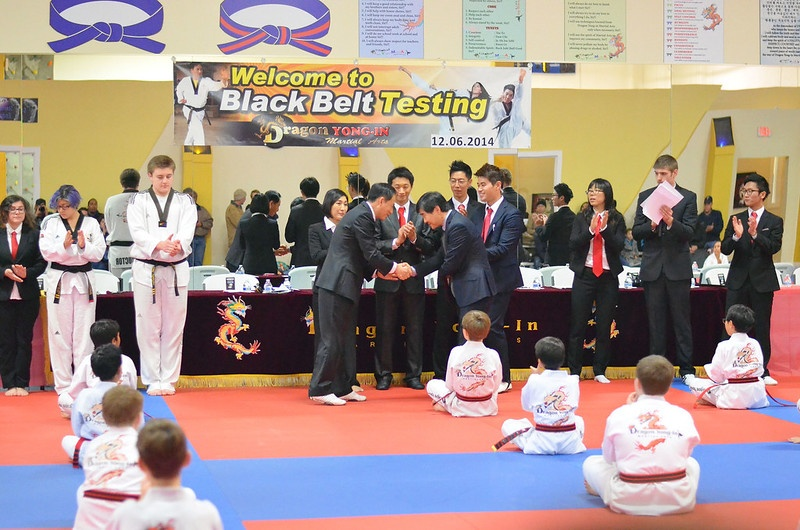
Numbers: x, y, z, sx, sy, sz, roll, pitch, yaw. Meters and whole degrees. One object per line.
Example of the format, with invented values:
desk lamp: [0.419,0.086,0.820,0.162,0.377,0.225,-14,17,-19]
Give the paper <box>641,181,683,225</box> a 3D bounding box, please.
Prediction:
paper: [2.725,-0.643,8.987,0.401,0.399,0.168,39,29,-12]

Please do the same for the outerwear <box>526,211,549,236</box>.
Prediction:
outerwear: [1.703,-0.508,10.630,0.197,0.282,0.117,1,8,7]

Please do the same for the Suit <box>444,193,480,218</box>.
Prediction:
Suit: [0.745,-0.661,9.489,0.306,0.326,0.139,0,16,2]

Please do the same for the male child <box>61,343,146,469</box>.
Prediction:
male child: [-2.311,1.181,7.091,0.723,0.944,0.633,7,-8,-21]

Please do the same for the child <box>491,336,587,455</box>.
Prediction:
child: [1.245,1.189,7.769,0.847,0.842,0.481,-2,8,-1]

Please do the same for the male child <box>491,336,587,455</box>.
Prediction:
male child: [1.245,1.189,7.769,0.847,0.842,0.481,-2,8,-1]

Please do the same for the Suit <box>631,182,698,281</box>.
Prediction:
Suit: [2.835,-0.322,9.257,0.614,1.040,0.542,1,4,27]

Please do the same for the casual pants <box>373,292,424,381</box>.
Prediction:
casual pants: [0.004,0.768,9.141,0.492,1.026,0.174,-1,10,-5]

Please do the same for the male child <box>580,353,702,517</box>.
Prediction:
male child: [1.868,1.234,6.514,0.868,1.127,0.824,0,6,10]

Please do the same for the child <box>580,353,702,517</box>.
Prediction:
child: [1.841,1.246,6.566,0.900,1.099,0.911,2,7,26]

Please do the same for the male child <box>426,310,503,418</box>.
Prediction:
male child: [0.659,0.893,8.288,0.769,1.050,0.778,6,10,27]

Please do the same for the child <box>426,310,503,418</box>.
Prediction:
child: [0.690,0.901,8.281,0.751,1.030,0.773,6,9,31]

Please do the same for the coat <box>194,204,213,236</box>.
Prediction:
coat: [-2.336,-0.537,10.317,0.351,0.435,0.283,1,1,-21]

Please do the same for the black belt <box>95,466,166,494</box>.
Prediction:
black belt: [-1.774,1.400,5.763,0.443,0.115,0.309,3,49,-13]

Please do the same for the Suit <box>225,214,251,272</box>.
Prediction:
Suit: [-1.946,-0.295,10.434,0.263,0.745,0.223,1,43,-23]

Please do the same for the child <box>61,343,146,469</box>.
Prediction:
child: [-2.348,1.173,7.032,0.705,0.917,0.609,5,-8,-12]

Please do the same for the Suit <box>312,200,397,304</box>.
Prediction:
Suit: [-0.433,-0.138,8.727,0.662,1.082,0.631,4,-10,39]

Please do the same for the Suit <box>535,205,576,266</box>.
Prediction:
Suit: [1.905,-0.400,10.509,0.515,0.843,0.499,-4,24,-10]

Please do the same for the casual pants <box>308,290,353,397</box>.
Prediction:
casual pants: [-0.653,0.774,8.531,0.523,1.097,0.342,-3,11,-18]

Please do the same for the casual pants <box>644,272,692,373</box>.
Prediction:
casual pants: [2.881,0.652,9.290,0.567,0.400,1.508,6,40,12]

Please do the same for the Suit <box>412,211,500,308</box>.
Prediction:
Suit: [0.593,-0.061,8.775,0.756,0.977,0.353,1,10,6]
